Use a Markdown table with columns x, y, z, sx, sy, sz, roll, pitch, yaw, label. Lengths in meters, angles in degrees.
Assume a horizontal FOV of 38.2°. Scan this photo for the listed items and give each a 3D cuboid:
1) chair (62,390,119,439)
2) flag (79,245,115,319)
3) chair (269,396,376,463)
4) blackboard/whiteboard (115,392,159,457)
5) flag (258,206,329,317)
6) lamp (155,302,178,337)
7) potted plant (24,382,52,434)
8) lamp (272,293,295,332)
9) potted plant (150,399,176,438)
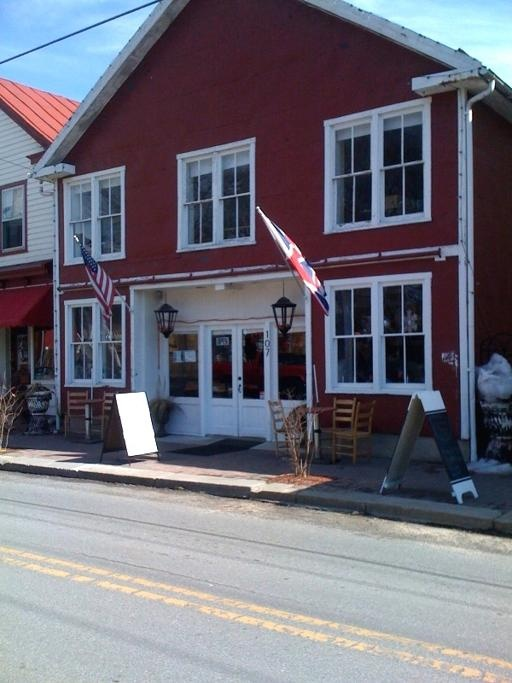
| x | y | z | sx | sy | sz | roll | pitch | yaw | label |
| --- | --- | --- | --- | --- | --- | --- | --- | --- | --- |
| -3.511 | 1.473 | 15.345 | 0.875 | 0.989 | 2.405 | 0 | -1 | -24 | chair |
| -2.990 | -1.123 | 14.016 | 0.625 | 1.425 | 1.629 | 0 | -1 | -11 | flag |
| 1.230 | 1.294 | 11.285 | 1.043 | 0.764 | 1.125 | 2 | -4 | -19 | chair |
| -1.830 | 1.238 | 11.071 | 0.370 | 0.912 | 0.773 | -1 | -1 | 32 | blackboard/whiteboard |
| 0.569 | -1.237 | 11.121 | 0.996 | 1.647 | 2.097 | -1 | -1 | 6 | flag |
| -1.791 | -0.445 | 14.721 | 0.504 | 0.841 | 0.587 | 0 | -3 | -6 | lamp |
| -4.648 | 1.432 | 15.741 | 0.513 | 1.066 | 0.926 | 0 | -1 | -18 | potted plant |
| 0.486 | -0.502 | 13.008 | 0.538 | 0.838 | 0.525 | 0 | -3 | 2 | lamp |
| -1.942 | 1.541 | 14.807 | 0.611 | 0.845 | 0.608 | 2 | -5 | -21 | potted plant |
